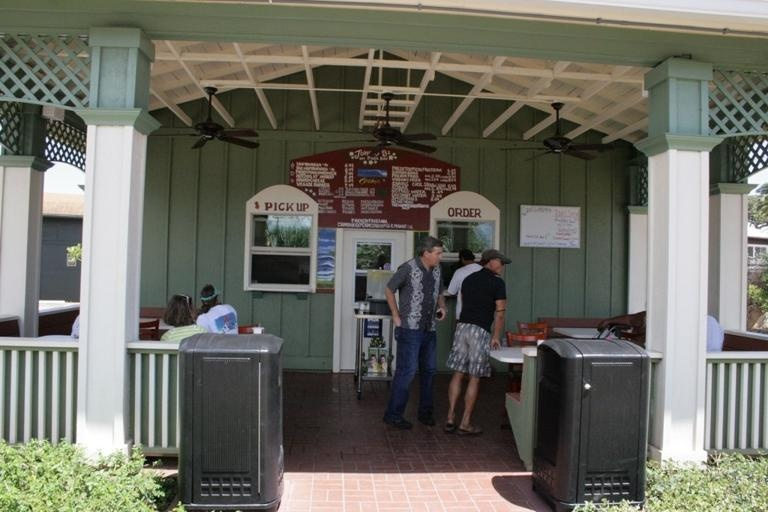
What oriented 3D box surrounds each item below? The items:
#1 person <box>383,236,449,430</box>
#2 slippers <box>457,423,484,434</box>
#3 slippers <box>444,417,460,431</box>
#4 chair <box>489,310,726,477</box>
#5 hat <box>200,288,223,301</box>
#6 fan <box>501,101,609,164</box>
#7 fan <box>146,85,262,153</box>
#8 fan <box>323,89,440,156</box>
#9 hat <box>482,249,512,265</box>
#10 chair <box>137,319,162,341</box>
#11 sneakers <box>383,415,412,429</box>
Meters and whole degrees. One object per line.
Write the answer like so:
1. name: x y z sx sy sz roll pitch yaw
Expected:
1. person: 0.362 0.845 8.624 0.701 2.127 0.483 3 6 -11
2. slippers: 0.946 1.914 8.442 0.234 0.094 0.120 -2 -2 1
3. slippers: 0.760 1.880 8.552 0.122 0.100 0.332 -1 -7 5
4. chair: 2.011 1.257 8.258 2.300 1.355 1.712 0 5 -10
5. hat: -2.003 0.446 8.828 0.320 0.118 0.320 -2 2 15
6. fan: 2.281 -1.748 10.398 1.308 0.617 1.405 11 27 39
7. fan: -2.190 -1.662 10.201 1.047 0.728 1.015 -1 2 -34
8. fan: 0.002 -1.757 9.777 1.413 0.648 1.331 2 18 -12
9. hat: 1.299 0.006 8.700 0.320 0.151 0.200 -1 -1 -6
10. chair: -2.860 0.918 9.340 0.245 0.326 0.747 2 6 -17
11. sneakers: 0.151 1.869 8.611 0.324 0.133 0.118 -1 -5 23
